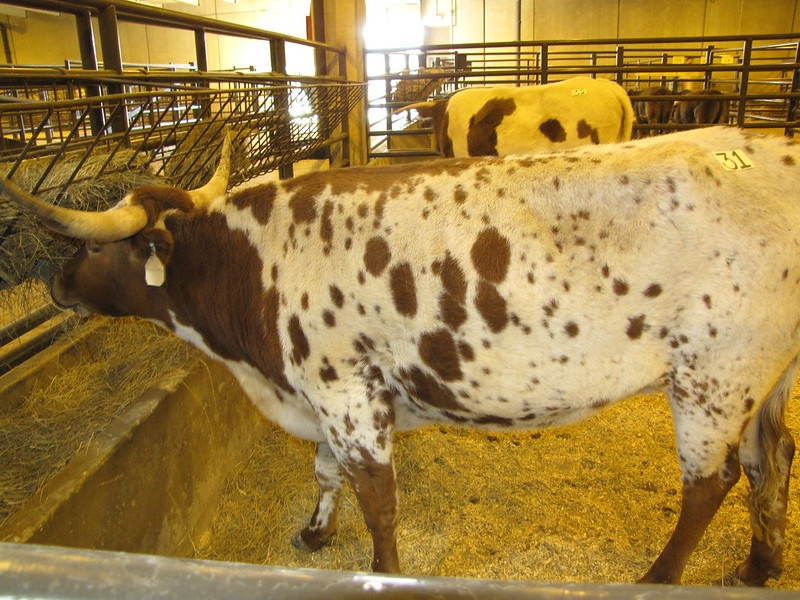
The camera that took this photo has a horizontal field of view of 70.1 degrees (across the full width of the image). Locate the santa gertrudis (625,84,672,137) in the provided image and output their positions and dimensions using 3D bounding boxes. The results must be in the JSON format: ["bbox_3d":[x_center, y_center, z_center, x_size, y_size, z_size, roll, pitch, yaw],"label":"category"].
[{"bbox_3d":[6.521,-4.743,14.602,0.575,0.775,1.460,1,5,18],"label":"santa gertrudis"}]
